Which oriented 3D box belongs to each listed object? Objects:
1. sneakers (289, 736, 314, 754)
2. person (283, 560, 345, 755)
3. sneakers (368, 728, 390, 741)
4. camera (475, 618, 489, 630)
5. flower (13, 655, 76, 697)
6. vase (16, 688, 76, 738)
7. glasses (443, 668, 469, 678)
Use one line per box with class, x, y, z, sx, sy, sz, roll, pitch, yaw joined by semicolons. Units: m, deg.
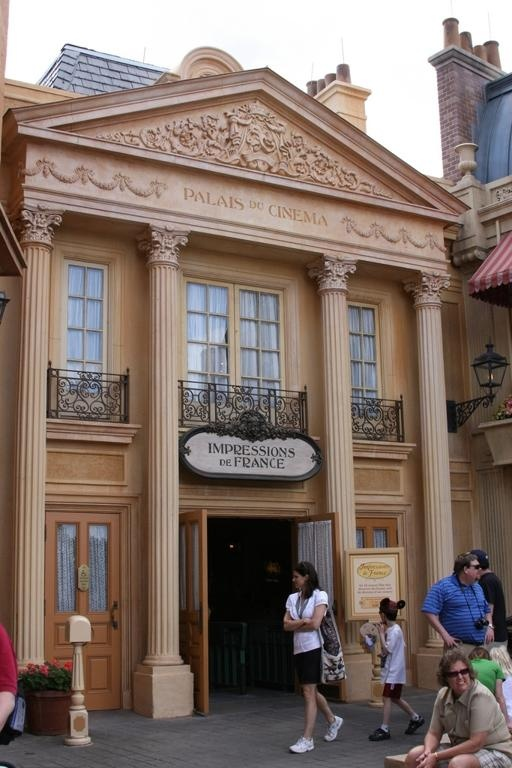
sneakers;0.437;3.333;7.042;0.276;0.128;0.107;15;-22;-41
person;0.565;2.645;7.415;0.552;1.802;0.911;-4;-10;5
sneakers;1.269;3.554;7.727;0.255;0.111;0.092;10;-14;-28
camera;1.922;2.032;6.456;0.138;0.088;0.048;4;-13;-37
flower;-2.246;3.173;8.199;0.805;0.296;0.379;-9;-12;29
vase;-2.227;3.501;8.132;0.532;0.417;0.533;19;-29;-40
glasses;1.039;1.483;3.903;0.109;0.055;0.065;-5;-10;10
